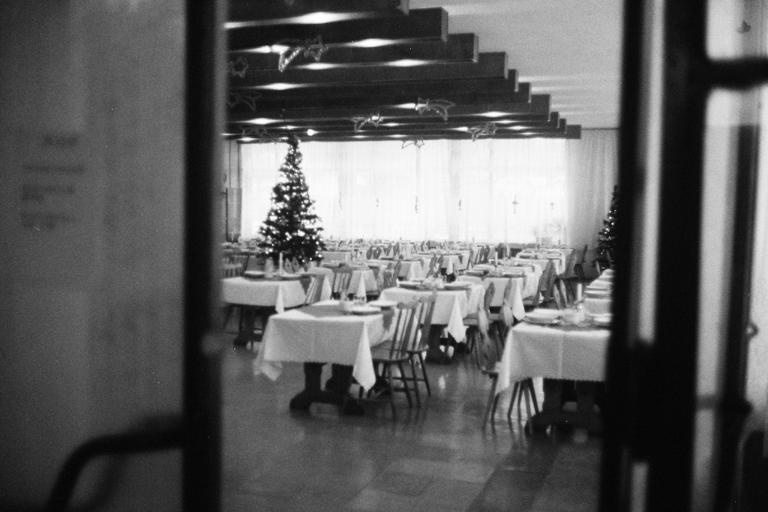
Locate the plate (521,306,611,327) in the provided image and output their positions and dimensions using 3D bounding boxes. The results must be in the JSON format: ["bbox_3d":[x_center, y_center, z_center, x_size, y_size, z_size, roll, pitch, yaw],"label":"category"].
[{"bbox_3d":[1.261,0.388,4.385,0.540,0.114,0.423,3,6,24],"label":"plate"}]

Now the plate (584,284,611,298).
[{"bbox_3d":[1.927,0.312,5.769,0.164,0.040,0.169,-1,3,-22],"label":"plate"}]
